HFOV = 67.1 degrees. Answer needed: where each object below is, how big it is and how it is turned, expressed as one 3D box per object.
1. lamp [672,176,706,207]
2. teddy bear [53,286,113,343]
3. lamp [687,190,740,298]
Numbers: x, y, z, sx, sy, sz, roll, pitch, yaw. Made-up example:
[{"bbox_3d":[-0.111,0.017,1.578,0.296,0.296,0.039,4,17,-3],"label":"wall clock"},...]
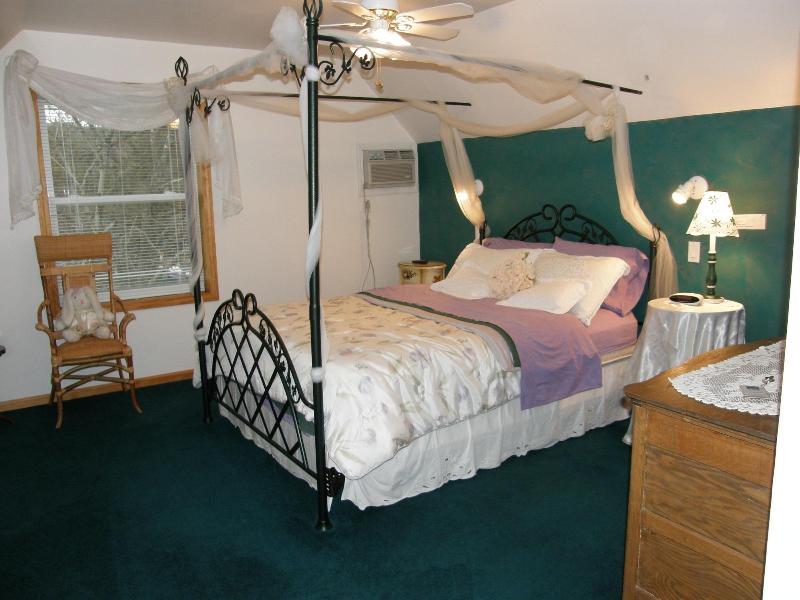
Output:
[{"bbox_3d":[2.089,-0.762,4.360,0.166,0.103,0.259,41,64,19],"label":"lamp"},{"bbox_3d":[-2.584,0.108,4.918,0.415,0.450,0.319,-9,12,-39],"label":"teddy bear"},{"bbox_3d":[2.188,-0.384,4.198,0.299,0.746,0.420,5,14,32],"label":"lamp"}]
